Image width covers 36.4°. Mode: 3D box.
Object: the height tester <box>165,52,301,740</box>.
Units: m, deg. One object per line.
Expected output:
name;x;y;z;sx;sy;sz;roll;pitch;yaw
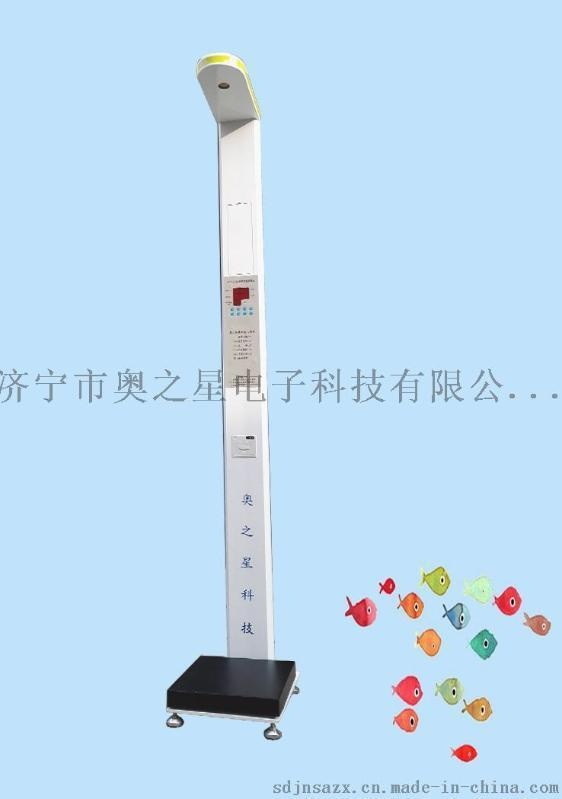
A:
height tester;-0.252;0.009;3.262;0.434;1.378;2.311;-3;63;11
